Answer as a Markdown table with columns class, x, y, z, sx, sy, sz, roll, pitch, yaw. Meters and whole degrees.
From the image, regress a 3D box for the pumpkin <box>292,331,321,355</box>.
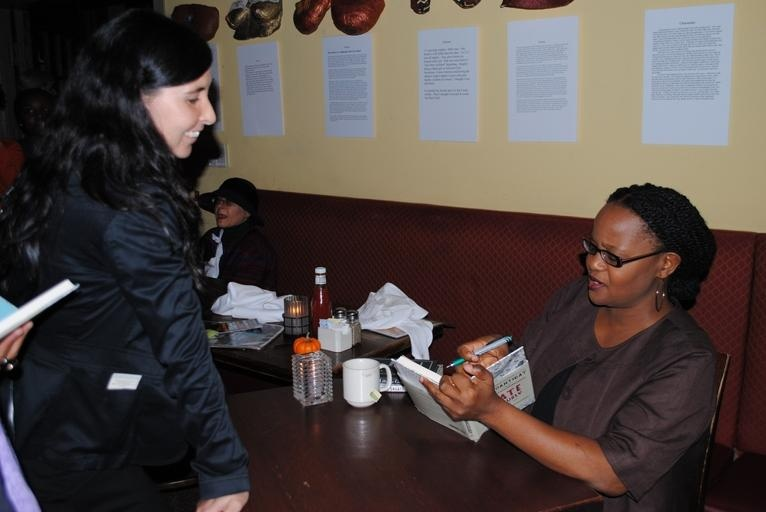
| class | x | y | z | sx | sy | sz | roll | pitch | yaw |
| --- | --- | --- | --- | --- | --- | --- | --- | --- | --- |
| pumpkin | -0.282 | 0.329 | 1.977 | 0.098 | 0.092 | 0.100 | 5 | 4 | 33 |

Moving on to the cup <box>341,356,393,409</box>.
| class | x | y | z | sx | sy | sz | roll | pitch | yaw |
| --- | --- | --- | --- | --- | --- | --- | --- | --- | --- |
| cup | -0.050 | 0.427 | 1.788 | 0.173 | 0.125 | 0.108 | 1 | 5 | -13 |

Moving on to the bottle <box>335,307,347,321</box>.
| class | x | y | z | sx | sy | sz | roll | pitch | yaw |
| --- | --- | --- | --- | --- | --- | --- | --- | --- | --- |
| bottle | -0.190 | 0.265 | 2.356 | 0.042 | 0.035 | 0.042 | 0 | 2 | -1 |

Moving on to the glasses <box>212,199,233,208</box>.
| class | x | y | z | sx | sy | sz | roll | pitch | yaw |
| --- | --- | --- | --- | --- | --- | --- | --- | --- | --- |
| glasses | -1.018 | -0.320 | 3.367 | 0.086 | 0.034 | 0.065 | 12 | 1 | -12 |

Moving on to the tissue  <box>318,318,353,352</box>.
| class | x | y | z | sx | sy | sz | roll | pitch | yaw |
| --- | --- | --- | --- | --- | --- | --- | --- | --- | --- |
| tissue  | -0.208 | 0.344 | 2.351 | 0.138 | 0.137 | 0.138 | -1 | 0 | 16 |

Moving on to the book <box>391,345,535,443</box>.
| class | x | y | z | sx | sy | sz | roll | pitch | yaw |
| --- | --- | --- | --- | --- | --- | --- | --- | --- | --- |
| book | 0.254 | 0.369 | 1.627 | 0.363 | 0.141 | 0.282 | 18 | 30 | 40 |

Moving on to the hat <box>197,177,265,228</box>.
| class | x | y | z | sx | sy | sz | roll | pitch | yaw |
| --- | --- | --- | --- | --- | --- | --- | --- | --- | --- |
| hat | -0.953 | -0.404 | 3.471 | 0.379 | 0.199 | 0.295 | 11 | 10 | 5 |
